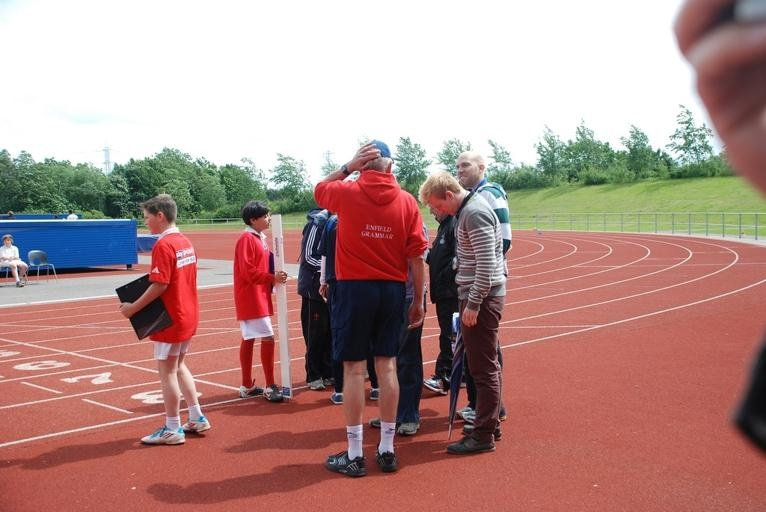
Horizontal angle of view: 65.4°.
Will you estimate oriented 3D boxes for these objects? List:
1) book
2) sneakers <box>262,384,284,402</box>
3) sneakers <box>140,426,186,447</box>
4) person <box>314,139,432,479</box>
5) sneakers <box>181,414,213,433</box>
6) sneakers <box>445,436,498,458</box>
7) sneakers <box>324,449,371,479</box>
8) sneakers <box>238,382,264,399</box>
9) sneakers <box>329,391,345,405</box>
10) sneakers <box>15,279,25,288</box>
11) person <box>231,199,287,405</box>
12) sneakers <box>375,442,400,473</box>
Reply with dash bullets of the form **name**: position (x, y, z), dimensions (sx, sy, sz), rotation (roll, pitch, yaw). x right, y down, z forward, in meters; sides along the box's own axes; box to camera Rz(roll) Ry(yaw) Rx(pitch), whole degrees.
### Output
- **book**: position (-2.204, 0.436, 5.265), dimensions (0.512, 0.525, 0.238), rotation (3, 7, 37)
- **sneakers**: position (-1.271, 1.489, 6.490), dimensions (0.120, 0.116, 0.278), rotation (-4, 3, -39)
- **sneakers**: position (-1.995, 1.579, 5.253), dimensions (0.438, 0.188, 0.155), rotation (2, -7, -5)
- **person**: position (-0.105, 0.382, 4.778), dimensions (0.942, 2.619, 0.630), rotation (-4, 6, -24)
- **sneakers**: position (-1.846, 1.567, 5.583), dimensions (0.336, 0.150, 0.123), rotation (-9, 0, 35)
- **sneakers**: position (0.720, 1.583, 4.994), dimensions (0.401, 0.164, 0.159), rotation (2, -5, -2)
- **sneakers**: position (-0.323, 1.592, 4.642), dimensions (0.360, 0.152, 0.140), rotation (5, 2, 39)
- **sneakers**: position (-1.543, 1.496, 6.666), dimensions (0.118, 0.141, 0.330), rotation (4, 3, 40)
- **sneakers**: position (-0.549, 1.524, 6.454), dimensions (0.116, 0.119, 0.284), rotation (2, 3, -13)
- **sneakers**: position (-10.437, 0.756, 16.511), dimensions (0.505, 0.191, 0.175), rotation (-4, -3, 43)
- **person**: position (-1.455, 0.474, 6.627), dimensions (0.534, 2.170, 0.934), rotation (-3, 6, -15)
- **sneakers**: position (0.022, 1.602, 4.721), dimensions (0.201, 0.152, 0.248), rotation (-3, 5, -13)
